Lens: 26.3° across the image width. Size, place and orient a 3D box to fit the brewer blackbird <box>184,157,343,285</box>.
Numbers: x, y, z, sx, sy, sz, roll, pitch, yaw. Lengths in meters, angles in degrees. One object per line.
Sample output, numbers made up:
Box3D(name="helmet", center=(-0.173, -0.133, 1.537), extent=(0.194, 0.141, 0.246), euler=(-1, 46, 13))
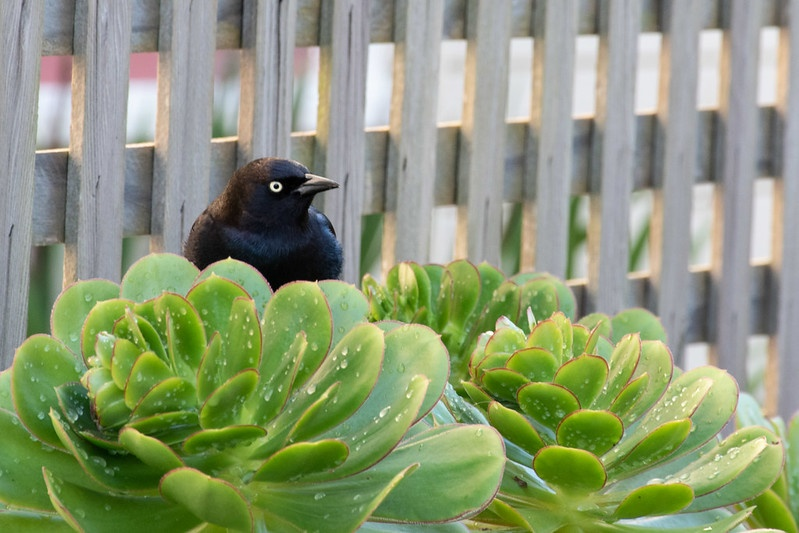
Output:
Box3D(name="brewer blackbird", center=(-0.393, -0.120, 5.098), extent=(0.438, 0.369, 0.314), euler=(-4, -5, 40))
